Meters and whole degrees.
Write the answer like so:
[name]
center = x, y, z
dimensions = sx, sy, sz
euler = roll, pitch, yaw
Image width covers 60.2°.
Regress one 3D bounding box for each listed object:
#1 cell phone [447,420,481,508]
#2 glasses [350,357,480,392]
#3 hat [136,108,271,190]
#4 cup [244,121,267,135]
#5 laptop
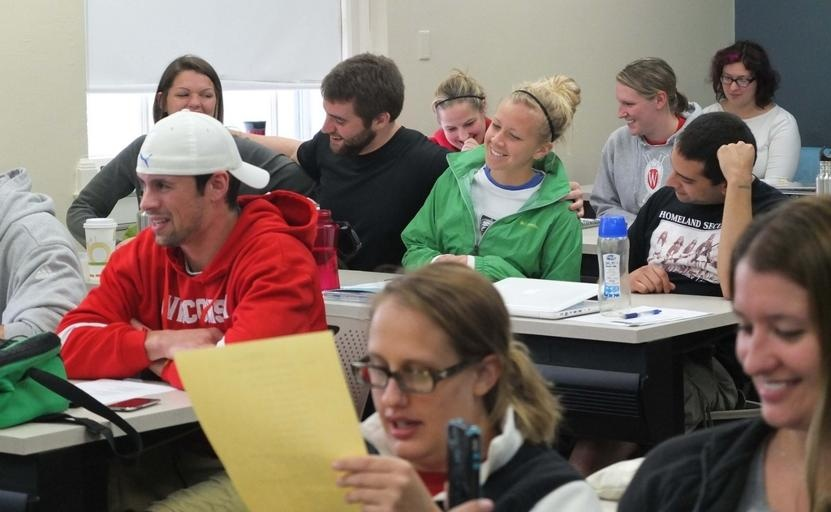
[cell phone]
center = 0.092, 0.377, 1.327
dimensions = 0.057, 0.189, 0.108
euler = 1, 11, 4
[glasses]
center = 0.002, 0.265, 1.655
dimensions = 0.298, 0.067, 0.084
euler = 0, 11, 2
[hat]
center = -0.775, -0.407, 2.617
dimensions = 0.377, 0.234, 0.255
euler = -4, 11, -24
[cup]
center = -1.087, -0.890, 4.884
dimensions = 0.129, 0.111, 0.145
euler = 5, 11, 29
[laptop]
center = 0.565, 0.169, 3.082
dimensions = 0.278, 0.069, 0.286
euler = 4, 7, 34
